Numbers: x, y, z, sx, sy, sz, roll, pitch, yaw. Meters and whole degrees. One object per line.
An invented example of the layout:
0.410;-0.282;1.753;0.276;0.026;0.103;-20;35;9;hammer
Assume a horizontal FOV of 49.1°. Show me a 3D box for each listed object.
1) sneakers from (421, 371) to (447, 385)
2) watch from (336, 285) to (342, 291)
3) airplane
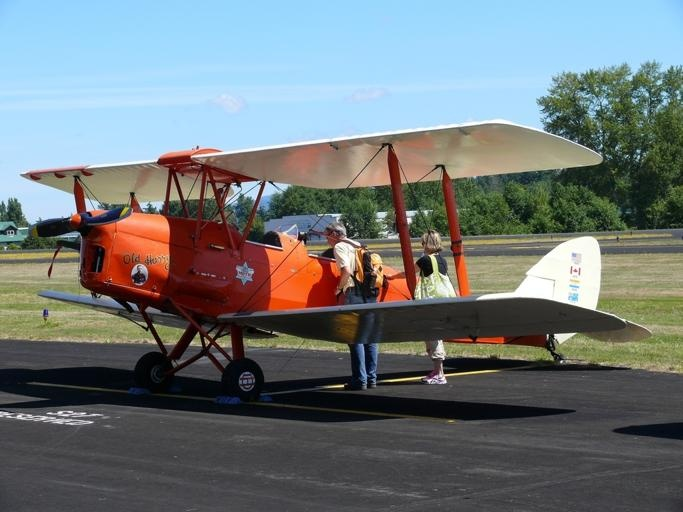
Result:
1.207;1.619;9.781;0.387;0.114;0.120;2;-3;-3;sneakers
-0.031;0.397;9.100;0.049;0.054;0.087;-2;1;-1;watch
0.009;0.022;9.184;6.034;1.374;5.151;-5;-9;44;airplane
